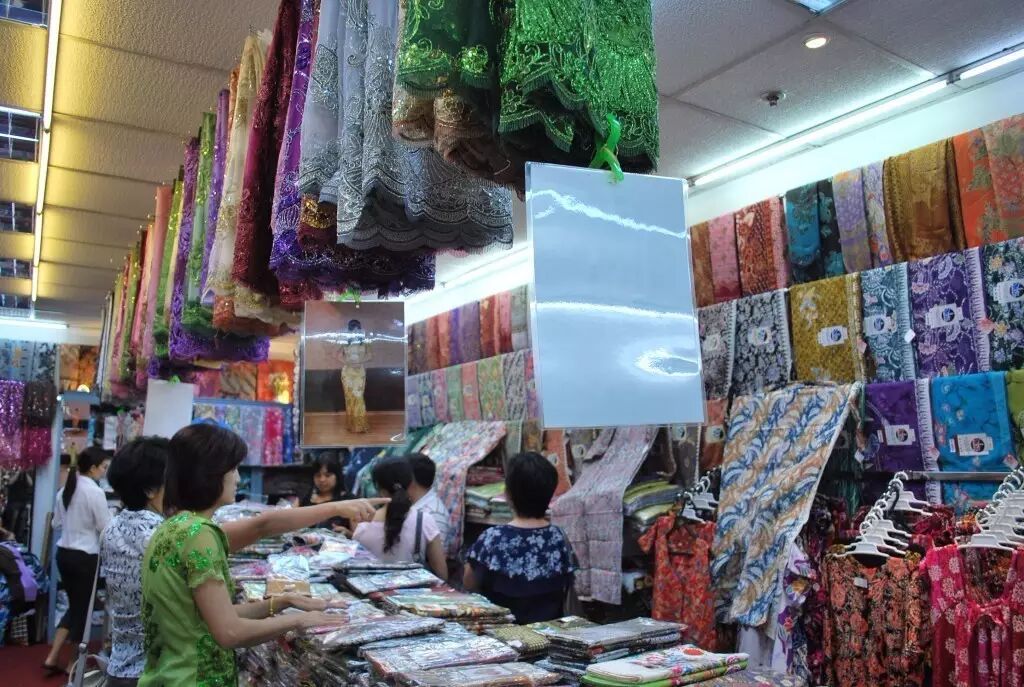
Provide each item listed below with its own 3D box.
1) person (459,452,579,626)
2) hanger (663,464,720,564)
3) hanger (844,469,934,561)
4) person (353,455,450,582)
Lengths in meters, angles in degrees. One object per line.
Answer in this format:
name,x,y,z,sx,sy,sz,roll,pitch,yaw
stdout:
person,0.060,0.938,3.754,0.479,0.747,0.400,-1,5,-35
hanger,1.058,0.893,4.295,0.290,0.394,0.138,4,-12,-3
hanger,1.879,0.862,3.802,0.137,0.453,0.322,29,-31,-3
person,-0.591,0.974,4.230,0.486,1.189,0.535,1,36,-2
